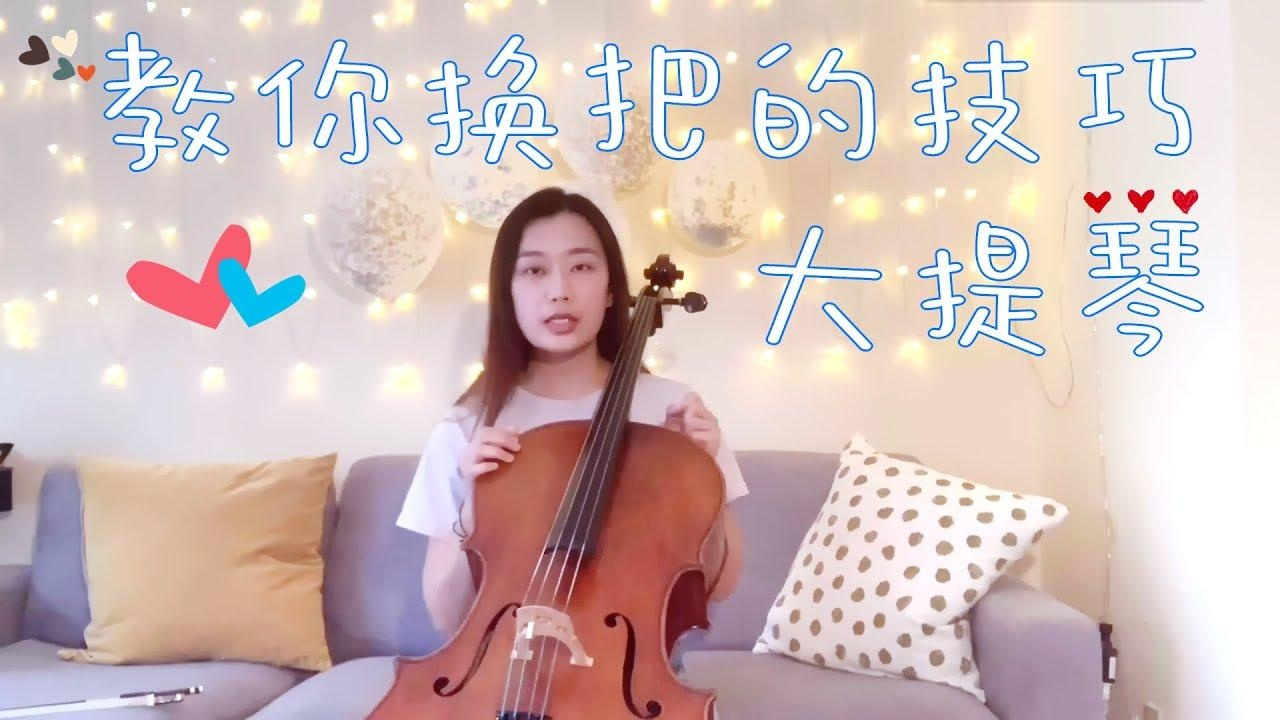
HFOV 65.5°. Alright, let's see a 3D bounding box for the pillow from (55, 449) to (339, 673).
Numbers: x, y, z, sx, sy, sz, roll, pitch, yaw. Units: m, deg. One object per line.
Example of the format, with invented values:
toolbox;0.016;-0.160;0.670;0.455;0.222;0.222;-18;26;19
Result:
pillow;-1.706;0.784;3.950;1.096;0.844;0.423;0;-2;2
